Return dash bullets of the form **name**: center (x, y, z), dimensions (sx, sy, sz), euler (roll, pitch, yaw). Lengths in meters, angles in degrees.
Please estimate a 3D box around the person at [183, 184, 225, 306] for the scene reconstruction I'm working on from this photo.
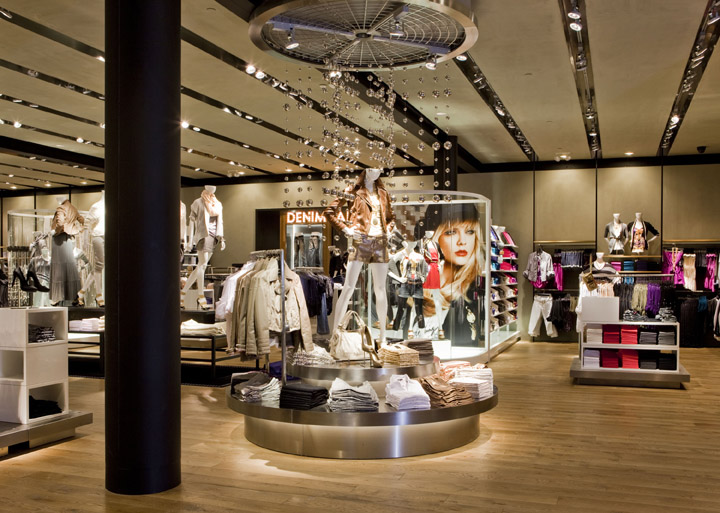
- **person**: center (-2.688, -0.153, 8.818), dimensions (0.609, 2.079, 0.410), euler (1, -1, -22)

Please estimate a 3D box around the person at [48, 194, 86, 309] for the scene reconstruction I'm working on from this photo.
- **person**: center (-4.294, -0.040, 7.484), dimensions (0.421, 1.524, 0.614), euler (1, -1, -32)

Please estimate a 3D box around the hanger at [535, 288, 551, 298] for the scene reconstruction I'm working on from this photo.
- **hanger**: center (4.677, 0.933, 13.167), dimensions (0.411, 0.190, 0.319), euler (0, -1, 19)

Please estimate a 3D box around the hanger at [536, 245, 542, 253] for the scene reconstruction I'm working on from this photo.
- **hanger**: center (4.603, -0.180, 13.255), dimensions (0.176, 0.254, 0.584), euler (0, -1, 18)

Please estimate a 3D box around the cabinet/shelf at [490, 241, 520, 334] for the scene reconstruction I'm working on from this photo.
- **cabinet/shelf**: center (3.408, 0.748, 12.233), dimensions (0.791, 2.318, 2.346), euler (0, 0, 23)

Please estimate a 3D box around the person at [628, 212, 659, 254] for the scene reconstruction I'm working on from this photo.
- **person**: center (6.878, -0.549, 12.539), dimensions (0.735, 0.978, 0.501), euler (1, -1, -21)

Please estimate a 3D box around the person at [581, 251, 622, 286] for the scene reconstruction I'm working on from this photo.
- **person**: center (4.584, 0.271, 9.847), dimensions (0.690, 0.650, 0.369), euler (-3, -20, 32)

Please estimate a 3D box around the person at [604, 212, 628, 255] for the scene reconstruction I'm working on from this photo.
- **person**: center (6.256, -0.542, 12.601), dimensions (0.563, 0.962, 0.574), euler (0, -1, 38)

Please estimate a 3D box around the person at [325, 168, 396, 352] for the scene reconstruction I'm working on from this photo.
- **person**: center (0.008, -0.016, 6.356), dimensions (0.798, 2.160, 0.425), euler (1, -1, -5)

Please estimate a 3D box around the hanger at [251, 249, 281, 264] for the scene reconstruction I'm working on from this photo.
- **hanger**: center (-1.103, -0.018, 6.094), dimensions (0.279, 0.092, 0.291), euler (1, -2, -5)
